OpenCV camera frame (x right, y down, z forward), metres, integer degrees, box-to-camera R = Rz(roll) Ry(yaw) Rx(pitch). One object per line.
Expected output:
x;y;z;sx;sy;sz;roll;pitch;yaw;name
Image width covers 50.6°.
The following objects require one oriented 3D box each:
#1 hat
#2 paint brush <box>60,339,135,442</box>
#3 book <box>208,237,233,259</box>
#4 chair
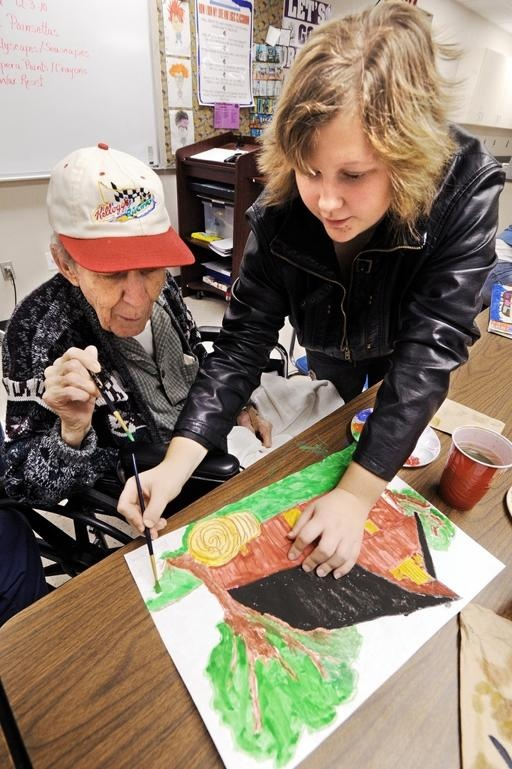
-0.228;-0.310;0.896;0.211;0.153;0.312;-17;42;-35;hat
-0.276;0.008;0.930;0.098;0.162;0.081;34;62;23;paint brush
-0.181;-0.702;2.787;0.118;0.030;0.122;-20;51;-24;book
0.187;-0.056;1.368;0.104;0.185;0.112;-37;52;-23;chair
